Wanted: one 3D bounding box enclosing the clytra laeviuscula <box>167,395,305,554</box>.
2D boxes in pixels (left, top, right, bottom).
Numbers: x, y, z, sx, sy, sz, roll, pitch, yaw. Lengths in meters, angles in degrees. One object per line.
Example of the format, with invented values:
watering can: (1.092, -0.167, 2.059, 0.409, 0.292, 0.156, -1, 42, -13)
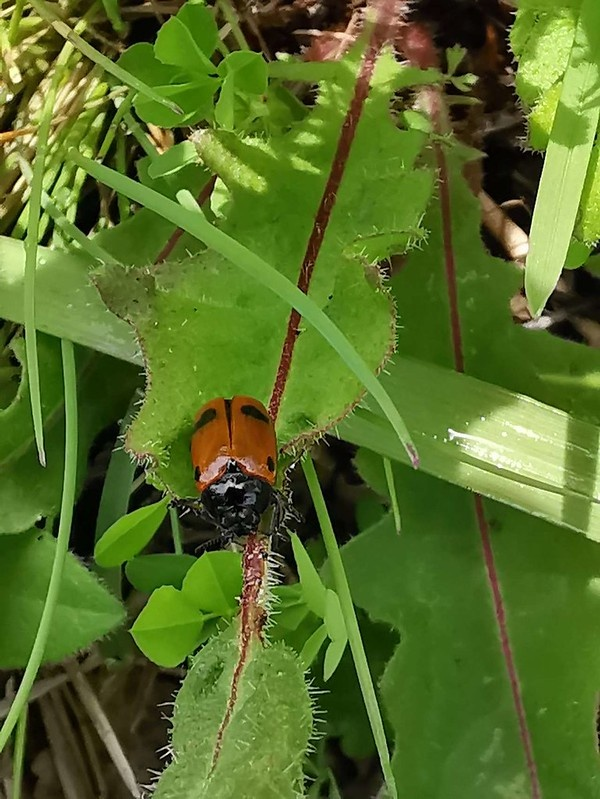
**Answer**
clytra laeviuscula: (-0.043, 0.051, 0.599, 0.097, 0.112, 0.039, -3, 28, -6)
